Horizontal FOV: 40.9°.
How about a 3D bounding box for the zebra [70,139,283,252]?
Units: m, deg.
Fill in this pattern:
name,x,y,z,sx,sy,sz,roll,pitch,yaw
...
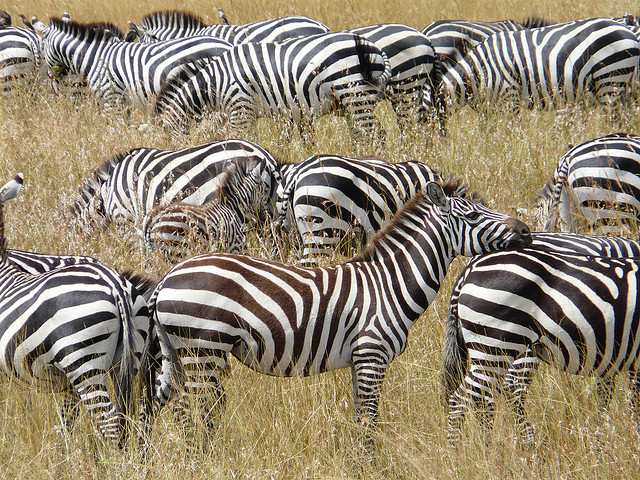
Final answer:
name,x,y,z,sx,sy,sz,roll,pitch,yaw
zebra,-1.331,-0.361,8.100,1.941,0.671,1.455,-9,85,16
